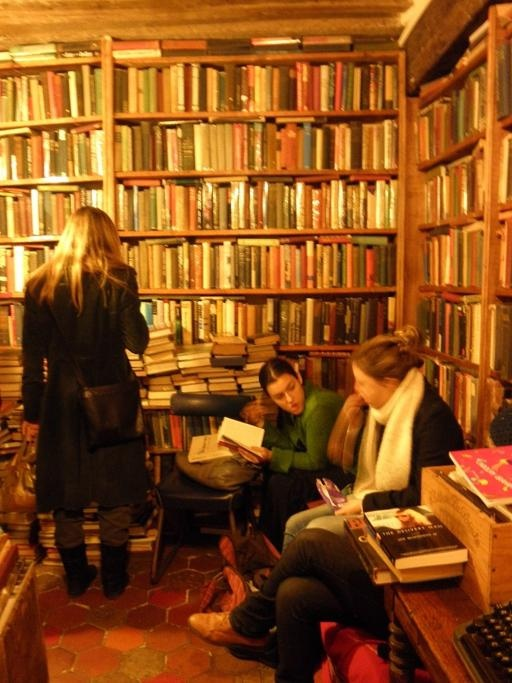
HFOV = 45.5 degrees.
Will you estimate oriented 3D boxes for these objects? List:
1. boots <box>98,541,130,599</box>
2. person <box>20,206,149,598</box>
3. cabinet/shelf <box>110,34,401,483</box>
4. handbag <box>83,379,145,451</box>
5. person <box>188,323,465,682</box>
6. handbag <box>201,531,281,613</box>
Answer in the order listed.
[{"bbox_3d":[-0.604,0.960,2.647,0.107,0.219,0.229,1,6,-8],"label":"boots"},{"bbox_3d":[-0.687,0.084,2.479,0.504,1.235,0.237,-5,10,-21],"label":"person"},{"bbox_3d":[-0.037,-0.798,3.626,1.742,1.540,0.557,-5,15,-18],"label":"cabinet/shelf"},{"bbox_3d":[-0.589,0.299,2.486,0.269,0.260,0.094,-16,11,-33],"label":"handbag"},{"bbox_3d":[0.270,0.666,2.641,1.205,1.843,0.802,6,-11,-5],"label":"person"},{"bbox_3d":[-0.045,0.898,2.388,0.132,0.298,0.235,18,23,-41],"label":"handbag"}]
